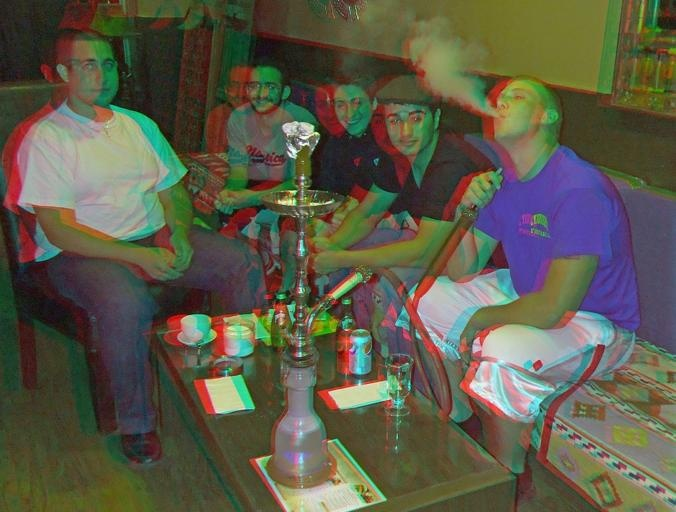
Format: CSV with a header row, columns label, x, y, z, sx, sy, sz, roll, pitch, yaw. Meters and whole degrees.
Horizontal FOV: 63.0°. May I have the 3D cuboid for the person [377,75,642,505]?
label,x,y,z,sx,sy,sz,roll,pitch,yaw
person,0.745,-0.093,2.490,1.043,1.697,1.038,-8,12,-8

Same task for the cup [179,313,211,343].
label,x,y,z,sx,sy,sz,roll,pitch,yaw
cup,-0.483,0.239,1.897,0.100,0.071,0.090,6,11,25

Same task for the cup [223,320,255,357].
label,x,y,z,sx,sy,sz,roll,pitch,yaw
cup,-0.333,0.281,1.891,0.097,0.075,0.100,2,14,0
